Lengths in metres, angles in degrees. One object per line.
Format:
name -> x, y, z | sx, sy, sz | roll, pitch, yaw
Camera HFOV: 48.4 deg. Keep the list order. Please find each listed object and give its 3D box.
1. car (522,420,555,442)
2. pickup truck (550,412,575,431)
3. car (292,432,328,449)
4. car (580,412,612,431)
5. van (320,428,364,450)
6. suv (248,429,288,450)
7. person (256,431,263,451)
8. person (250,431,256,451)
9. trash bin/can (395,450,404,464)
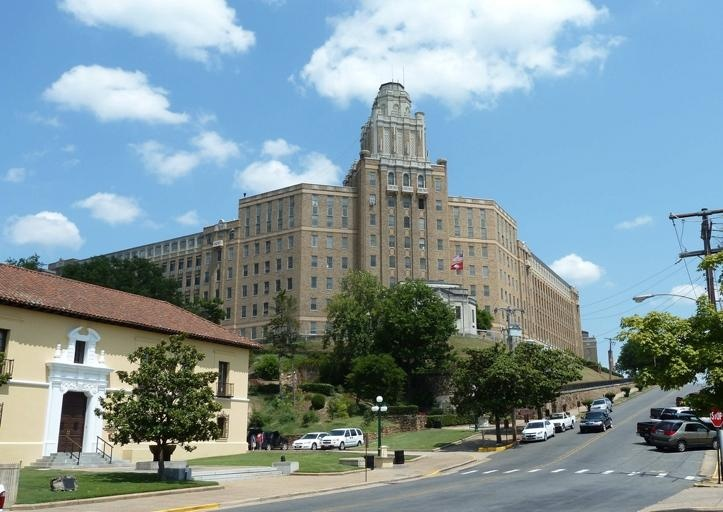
car -> 14.306, 14.310, 65.699 | 1.684, 1.857, 2.956 | -16, -22, 33
pickup truck -> 17.836, 14.943, 71.975 | 1.294, 1.083, 2.983 | -8, -15, 27
car -> -4.417, 15.665, 67.669 | 2.613, 1.467, 1.448 | -2, -18, -2
car -> 19.556, 13.946, 67.708 | 1.868, 1.930, 2.684 | -15, -21, 32
van -> -1.605, 15.614, 68.370 | 1.363, 1.896, 4.148 | -17, -22, 36
suv -> -7.828, 15.538, 67.612 | 2.802, 1.148, 1.584 | 3, -9, -29
person -> -8.486, 15.390, 66.783 | 0.464, 1.494, 0.750 | -13, -21, 26
person -> -9.118, 15.465, 66.990 | 0.540, 1.473, 0.979 | -1, -19, -8
trash bin/can -> 2.567, 13.857, 55.221 | 0.378, 0.726, 0.801 | -9, -13, 30
